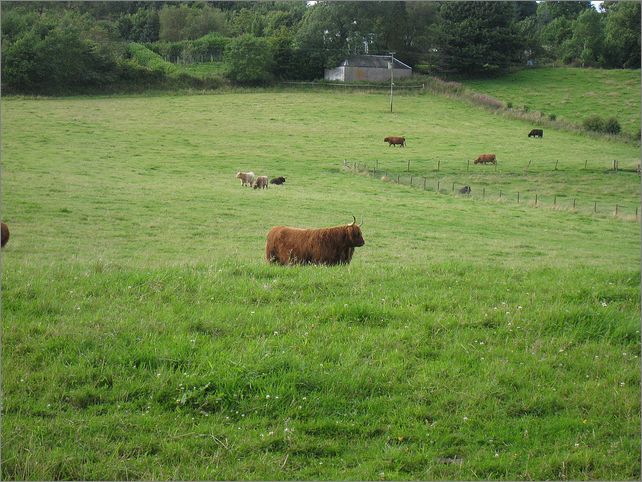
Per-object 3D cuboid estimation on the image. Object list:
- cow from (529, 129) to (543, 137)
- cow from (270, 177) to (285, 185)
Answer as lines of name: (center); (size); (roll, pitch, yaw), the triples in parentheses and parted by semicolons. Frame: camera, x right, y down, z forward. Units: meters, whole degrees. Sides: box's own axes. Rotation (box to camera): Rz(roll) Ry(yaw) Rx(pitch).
cow: (35.036, -17.596, 183.608); (2.217, 1.455, 1.300); (7, 9, 8)
cow: (-6.234, -8.723, 161.193); (2.134, 1.145, 0.875); (-8, 30, 2)
